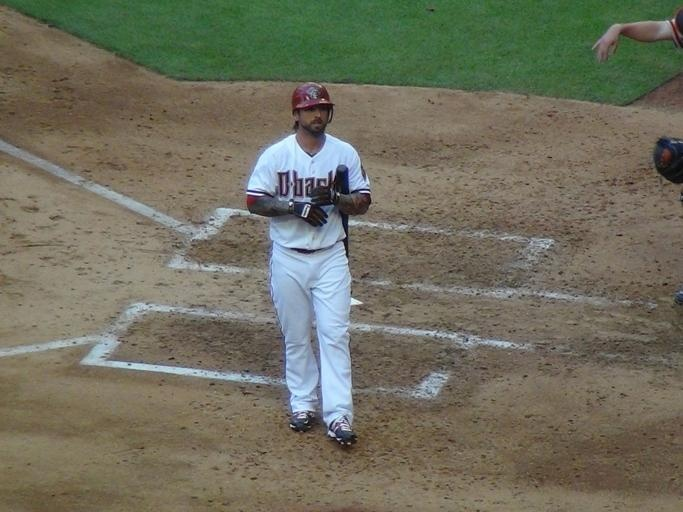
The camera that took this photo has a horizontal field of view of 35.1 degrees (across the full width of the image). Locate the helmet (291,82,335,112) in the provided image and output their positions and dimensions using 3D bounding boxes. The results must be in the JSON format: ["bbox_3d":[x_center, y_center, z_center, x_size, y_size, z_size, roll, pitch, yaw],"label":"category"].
[{"bbox_3d":[-0.331,-1.442,9.919,0.353,0.379,0.149,-8,96,-24],"label":"helmet"}]

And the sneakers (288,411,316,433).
[{"bbox_3d":[-0.362,1.534,10.012,0.175,0.271,0.092,1,96,3],"label":"sneakers"}]

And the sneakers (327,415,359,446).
[{"bbox_3d":[0.005,1.597,9.864,0.197,0.440,0.140,-6,104,-34],"label":"sneakers"}]
